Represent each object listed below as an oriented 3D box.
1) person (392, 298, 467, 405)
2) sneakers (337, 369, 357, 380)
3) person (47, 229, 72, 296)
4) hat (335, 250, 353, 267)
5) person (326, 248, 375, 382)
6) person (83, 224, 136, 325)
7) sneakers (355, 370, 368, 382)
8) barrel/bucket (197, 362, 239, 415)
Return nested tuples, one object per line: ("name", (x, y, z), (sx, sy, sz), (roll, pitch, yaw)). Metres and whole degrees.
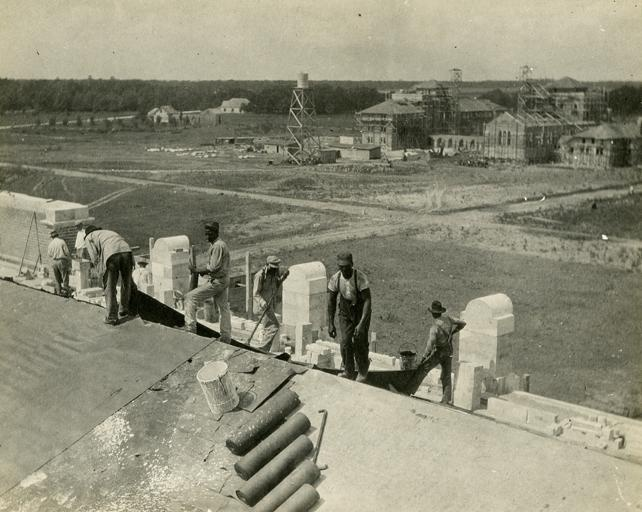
("person", (1.448, 1.271, 10.936), (0.508, 1.179, 1.504), (2, 14, 23))
("sneakers", (0.338, 1.446, 10.396), (0.295, 0.141, 0.093), (24, -18, -39))
("person", (-4.721, 0.204, 15.513), (0.378, 1.202, 2.839), (-7, 14, -17))
("hat", (0.285, 0.045, 10.458), (0.171, 0.164, 0.292), (-6, 13, -7))
("person", (0.340, 0.726, 10.494), (0.548, 1.510, 0.547), (-1, 12, 13))
("person", (-2.572, 0.235, 10.555), (0.529, 1.055, 0.810), (-7, 13, -17))
("sneakers", (0.503, 1.477, 10.472), (0.108, 0.201, 0.113), (4, 27, 4))
("barrel/bucket", (-1.091, 1.444, 9.066), (0.309, 0.396, 0.303), (-9, 10, 2))
